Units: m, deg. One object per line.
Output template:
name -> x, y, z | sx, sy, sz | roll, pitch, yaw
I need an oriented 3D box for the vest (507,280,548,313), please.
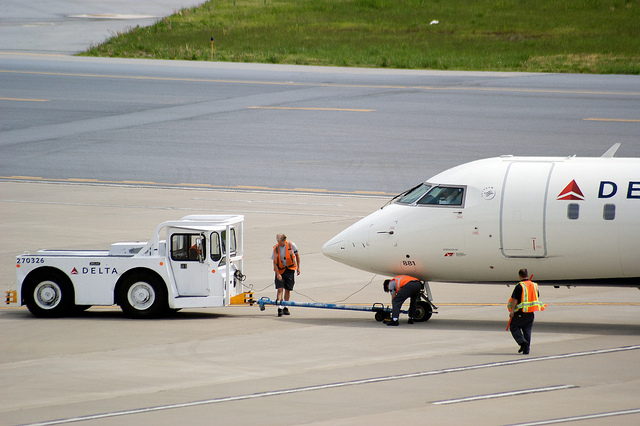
vest -> 9.519, 3.551, 58.718 | 1.613, 1.432, 1.134 | 6, 26, 45

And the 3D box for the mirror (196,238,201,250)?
mirror -> -5.601, 1.406, 61.474 | 0.175, 0.424, 0.320 | -1, 6, 4

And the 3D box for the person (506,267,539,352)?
person -> 8.935, 4.282, 58.543 | 1.263, 3.561, 0.718 | -1, 4, 3

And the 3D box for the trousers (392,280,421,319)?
trousers -> 3.955, 3.929, 60.889 | 1.327, 1.758, 0.552 | -1, 4, 0

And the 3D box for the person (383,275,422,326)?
person -> 3.839, 4.001, 61.054 | 1.691, 2.226, 0.906 | -1, 4, 4

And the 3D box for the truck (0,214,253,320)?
truck -> -8.609, 2.593, 62.992 | 8.875, 3.645, 5.481 | 0, 1, 5

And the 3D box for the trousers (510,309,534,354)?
trousers -> 8.841, 5.159, 58.446 | 0.996, 1.955, 0.386 | -1, 4, 2
